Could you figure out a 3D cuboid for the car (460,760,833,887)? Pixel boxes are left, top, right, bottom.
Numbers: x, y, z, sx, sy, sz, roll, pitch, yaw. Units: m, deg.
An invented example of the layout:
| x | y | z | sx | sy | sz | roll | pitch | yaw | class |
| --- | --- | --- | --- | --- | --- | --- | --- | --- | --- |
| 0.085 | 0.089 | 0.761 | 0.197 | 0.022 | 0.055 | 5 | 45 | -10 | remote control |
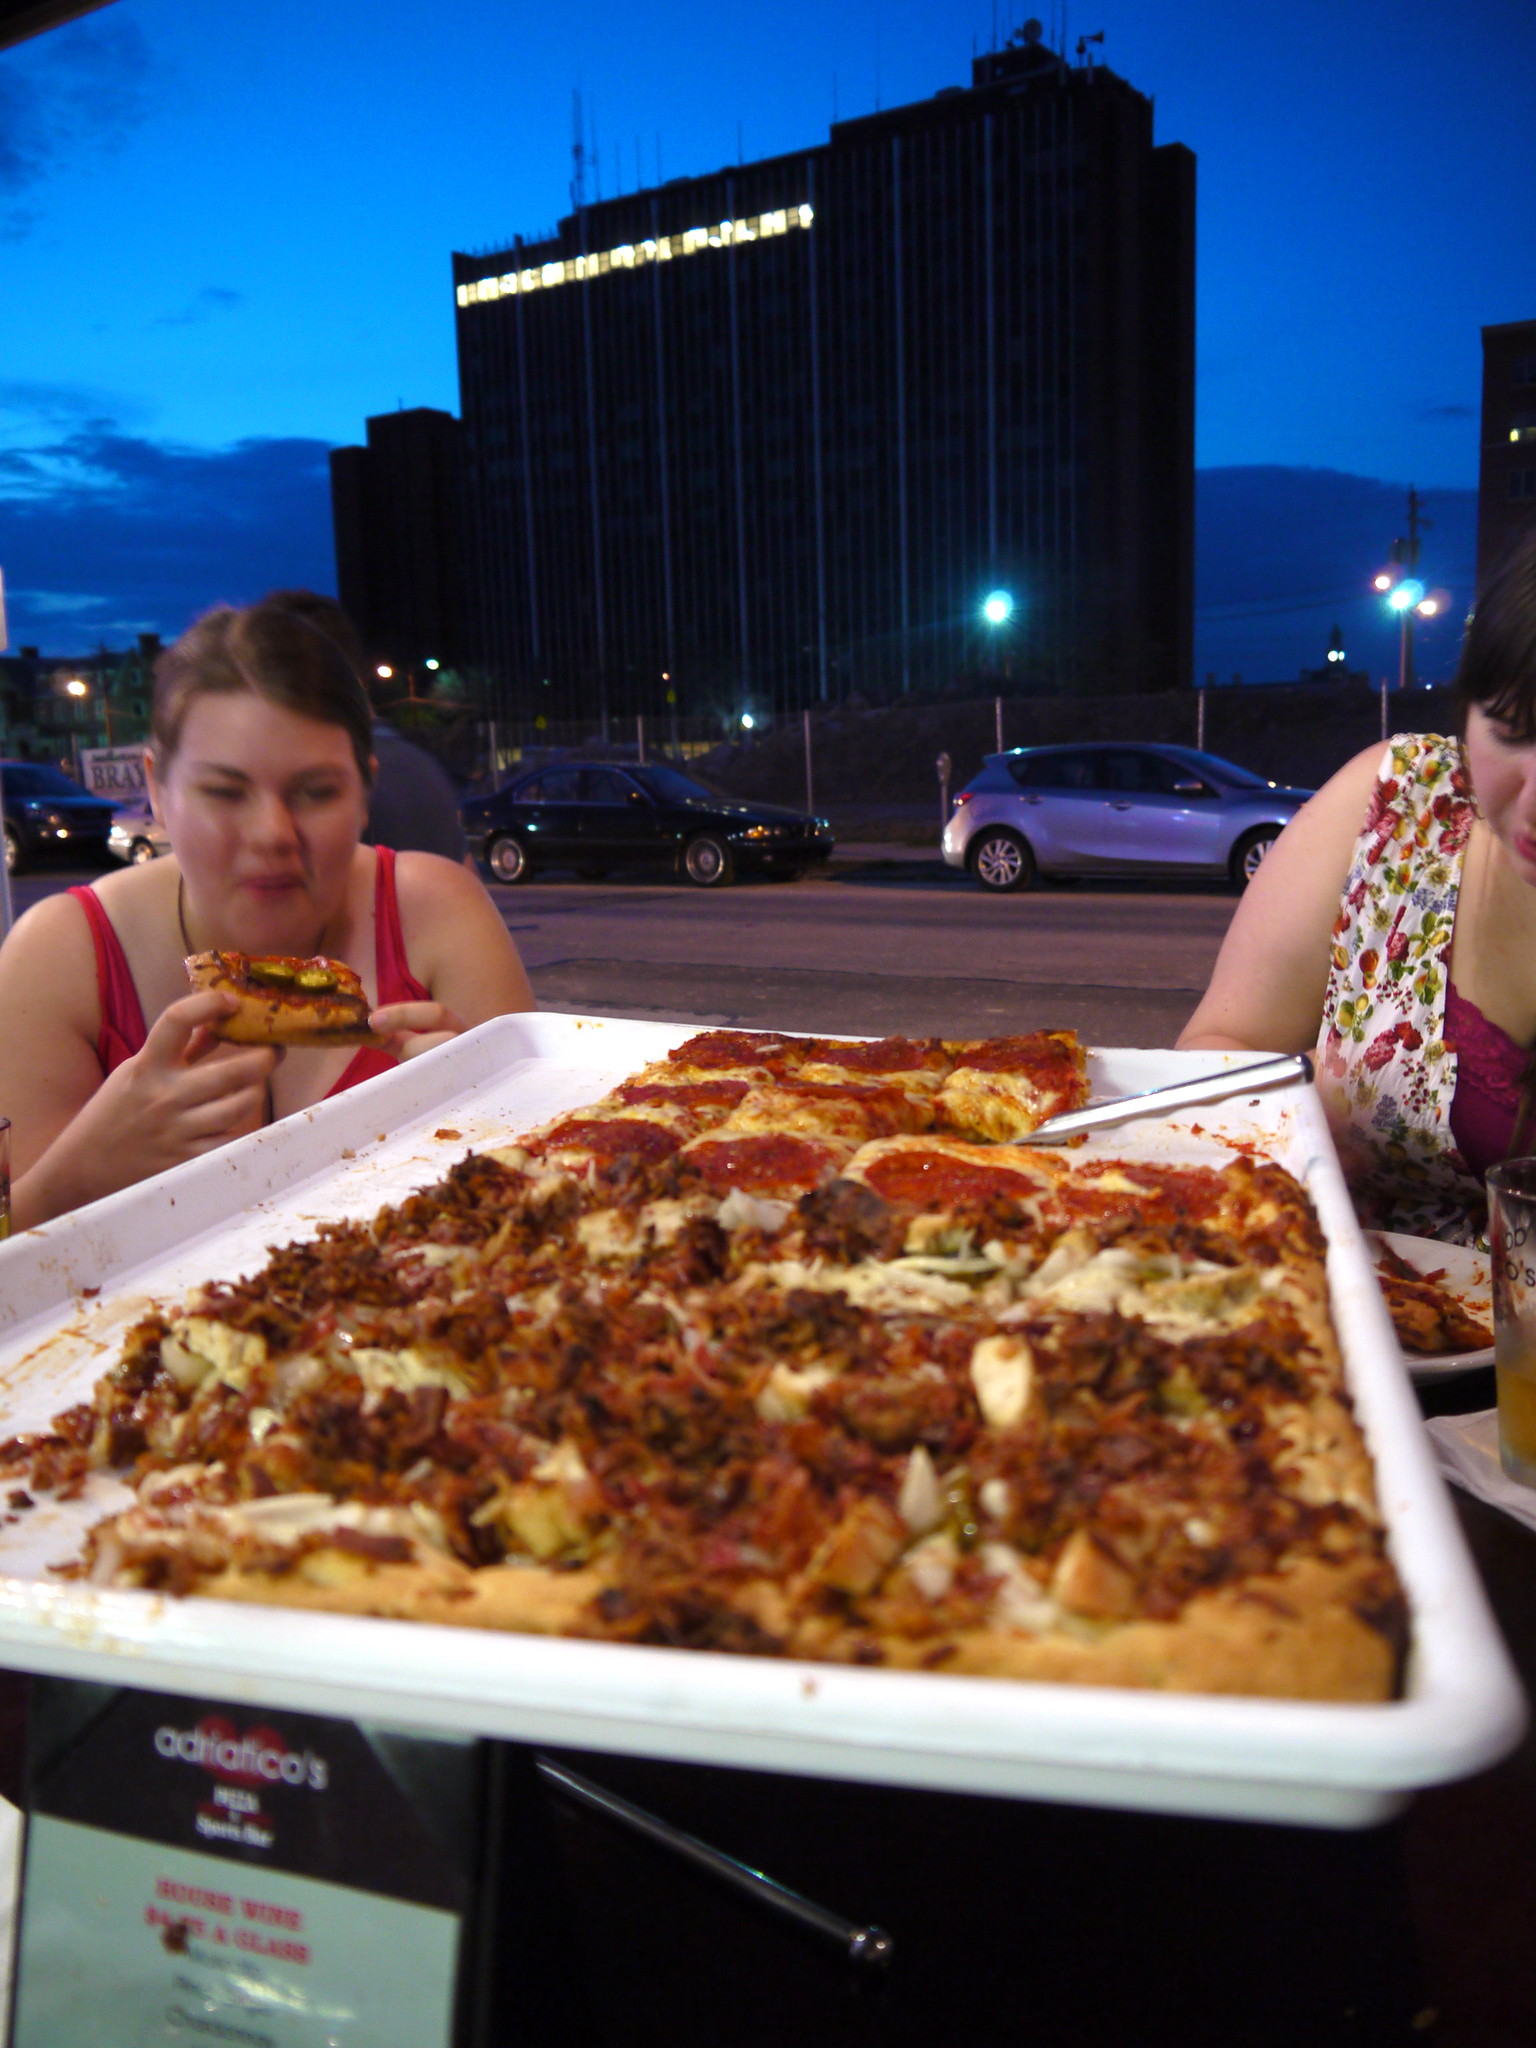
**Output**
| x | y | z | sx | sy | sz | roll | pitch | yaw | class |
| --- | --- | --- | --- | --- | --- | --- | --- | --- | --- |
| -1.827 | -2.766 | 20.370 | 4.719 | 1.470 | 2.106 | 1 | 8 | 24 | car |
